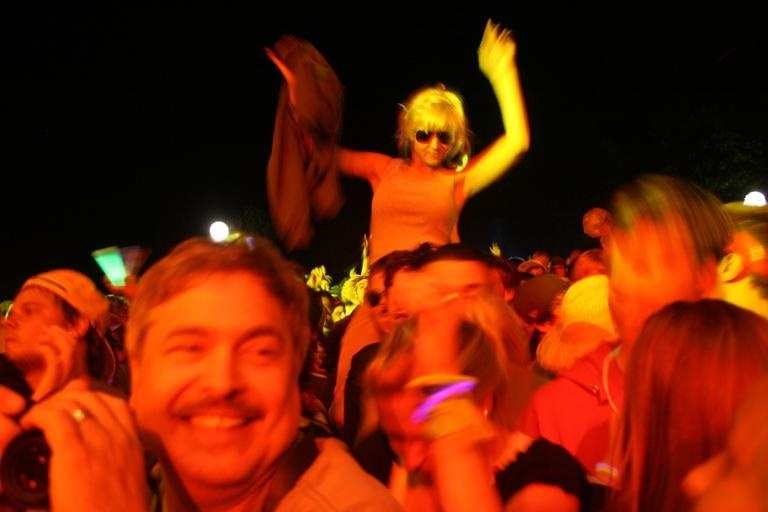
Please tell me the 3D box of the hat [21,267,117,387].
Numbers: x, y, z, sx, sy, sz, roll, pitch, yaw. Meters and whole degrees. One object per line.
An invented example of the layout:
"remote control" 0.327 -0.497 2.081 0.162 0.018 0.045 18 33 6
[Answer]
"hat" -1.657 0.335 3.676 0.621 0.304 0.452 43 -22 -22
